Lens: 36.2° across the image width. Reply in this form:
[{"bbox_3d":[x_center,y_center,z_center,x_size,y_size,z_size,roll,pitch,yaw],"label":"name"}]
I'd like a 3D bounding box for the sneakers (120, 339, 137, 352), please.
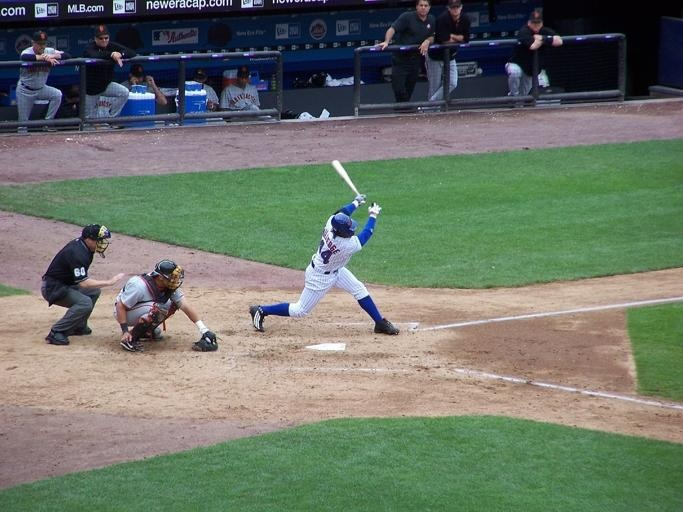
[{"bbox_3d":[-2.716,1.131,13.397,0.211,0.159,0.263,0,6,-14],"label":"sneakers"}]

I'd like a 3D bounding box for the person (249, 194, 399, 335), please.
[{"bbox_3d":[-0.164,0.141,14.079,1.931,1.852,0.777,2,8,2],"label":"person"}]

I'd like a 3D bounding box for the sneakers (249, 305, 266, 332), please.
[{"bbox_3d":[-1.134,0.837,14.256,0.255,0.371,0.150,-9,9,6],"label":"sneakers"}]

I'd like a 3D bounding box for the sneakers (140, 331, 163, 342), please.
[{"bbox_3d":[-2.486,1.056,13.805,0.152,0.060,0.203,3,9,40],"label":"sneakers"}]

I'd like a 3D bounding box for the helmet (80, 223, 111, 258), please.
[{"bbox_3d":[-3.160,-0.207,13.483,0.319,0.392,0.334,5,8,26],"label":"helmet"}]

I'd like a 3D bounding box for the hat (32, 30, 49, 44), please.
[{"bbox_3d":[-6.281,-4.534,21.728,0.251,0.311,0.872,-1,6,-17],"label":"hat"}]

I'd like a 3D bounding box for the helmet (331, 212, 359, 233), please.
[{"bbox_3d":[0.024,-0.426,13.751,0.331,0.290,0.299,1,7,-1],"label":"helmet"}]

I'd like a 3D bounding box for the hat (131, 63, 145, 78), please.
[{"bbox_3d":[-4.317,-3.882,22.009,0.255,0.160,0.298,-12,49,-27],"label":"hat"}]

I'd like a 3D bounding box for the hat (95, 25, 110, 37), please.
[{"bbox_3d":[-5.075,-4.734,22.066,0.247,0.245,0.325,0,7,-12],"label":"hat"}]

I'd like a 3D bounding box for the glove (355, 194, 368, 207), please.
[{"bbox_3d":[0.289,-0.848,15.746,0.194,0.159,0.552,-14,6,-9],"label":"glove"}]

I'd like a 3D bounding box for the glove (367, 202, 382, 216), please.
[{"bbox_3d":[0.446,-0.652,14.388,0.189,0.086,0.209,10,29,12],"label":"glove"}]

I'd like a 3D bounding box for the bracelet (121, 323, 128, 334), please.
[{"bbox_3d":[-2.751,0.922,13.329,0.140,0.142,0.123,-3,2,-6],"label":"bracelet"}]

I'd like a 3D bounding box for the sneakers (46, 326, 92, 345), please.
[{"bbox_3d":[-3.549,1.041,13.526,0.595,0.184,0.174,-11,14,-12],"label":"sneakers"}]

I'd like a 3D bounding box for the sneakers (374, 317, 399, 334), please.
[{"bbox_3d":[0.586,0.952,14.181,0.439,0.163,0.142,4,20,3],"label":"sneakers"}]

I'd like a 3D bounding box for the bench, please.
[{"bbox_3d":[-1.287,-3.662,24.619,13.053,1.786,3.122,-1,6,-17],"label":"bench"}]

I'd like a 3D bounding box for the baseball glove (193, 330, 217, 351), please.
[{"bbox_3d":[-1.829,1.099,13.536,0.240,0.249,0.324,22,-6,-37],"label":"baseball glove"}]

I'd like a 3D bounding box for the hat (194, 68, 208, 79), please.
[{"bbox_3d":[-3.105,-4.015,22.964,0.278,0.194,0.058,-2,21,-5],"label":"hat"}]

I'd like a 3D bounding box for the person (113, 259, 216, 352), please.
[{"bbox_3d":[-2.257,0.653,13.511,1.651,0.963,0.873,10,10,3],"label":"person"}]

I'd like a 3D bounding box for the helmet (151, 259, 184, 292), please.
[{"bbox_3d":[-2.174,0.198,13.323,0.517,0.338,0.355,13,33,-3],"label":"helmet"}]
